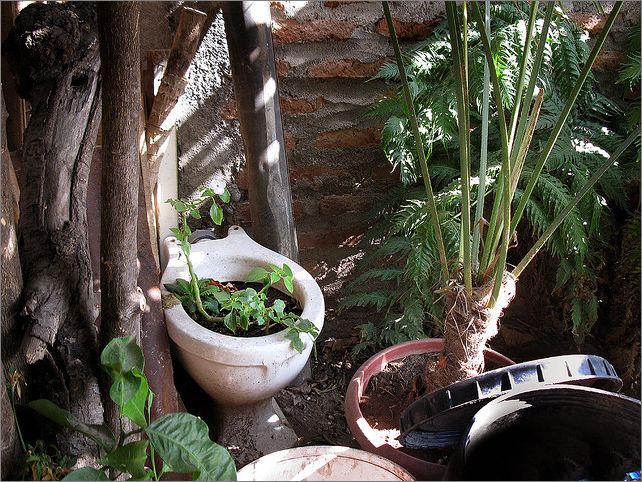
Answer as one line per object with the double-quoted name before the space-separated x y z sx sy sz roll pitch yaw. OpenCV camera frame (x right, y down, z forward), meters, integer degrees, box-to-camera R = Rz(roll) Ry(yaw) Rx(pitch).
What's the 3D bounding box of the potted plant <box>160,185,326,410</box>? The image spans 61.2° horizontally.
"potted plant" -0.293 0.166 1.815 0.453 0.494 0.707 -16 48 -31
